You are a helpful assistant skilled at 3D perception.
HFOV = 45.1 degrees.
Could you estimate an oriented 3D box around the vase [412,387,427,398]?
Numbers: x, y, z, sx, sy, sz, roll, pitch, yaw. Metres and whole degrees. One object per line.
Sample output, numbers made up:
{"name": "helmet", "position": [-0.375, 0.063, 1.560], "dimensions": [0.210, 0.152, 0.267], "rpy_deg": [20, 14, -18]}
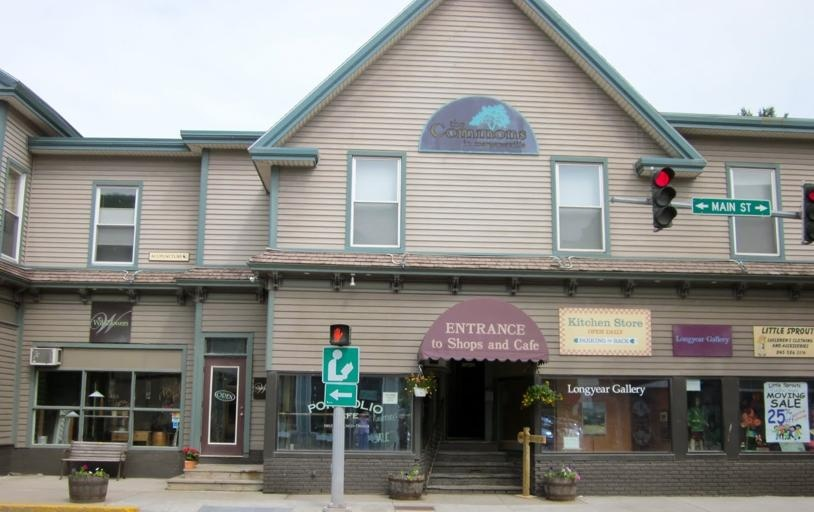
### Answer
{"name": "vase", "position": [0.391, 3.949, 28.286], "dimensions": [0.431, 0.271, 0.384], "rpy_deg": [-6, -15, 22]}

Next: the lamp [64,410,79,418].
{"name": "lamp", "position": [-10.500, 4.981, 30.727], "dimensions": [0.272, 0.128, 0.268], "rpy_deg": [-3, -2, 24]}

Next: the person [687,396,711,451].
{"name": "person", "position": [8.572, 4.948, 28.803], "dimensions": [0.555, 1.554, 0.292], "rpy_deg": [-1, -15, 4]}

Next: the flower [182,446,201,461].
{"name": "flower", "position": [-6.685, 6.082, 29.991], "dimensions": [0.550, 0.390, 0.402], "rpy_deg": [-9, -17, 31]}

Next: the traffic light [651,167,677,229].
{"name": "traffic light", "position": [6.642, -1.525, 25.376], "dimensions": [0.598, 1.637, 1.129], "rpy_deg": [-4, -15, 14]}

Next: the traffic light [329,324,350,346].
{"name": "traffic light", "position": [-1.734, 2.097, 25.795], "dimensions": [0.579, 0.515, 0.525], "rpy_deg": [0, -2, 1]}

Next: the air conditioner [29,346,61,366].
{"name": "air conditioner", "position": [-11.365, 3.184, 30.695], "dimensions": [1.049, 0.549, 0.637], "rpy_deg": [2, -7, -10]}

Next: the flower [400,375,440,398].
{"name": "flower", "position": [0.437, 3.758, 28.520], "dimensions": [0.797, 0.518, 0.709], "rpy_deg": [1, -13, -3]}

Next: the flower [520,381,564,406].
{"name": "flower", "position": [3.977, 4.050, 28.504], "dimensions": [0.864, 0.540, 0.823], "rpy_deg": [0, 3, -22]}

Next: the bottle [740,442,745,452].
{"name": "bottle", "position": [9.943, 5.619, 28.826], "dimensions": [0.176, 0.298, 0.058], "rpy_deg": [5, -16, -19]}

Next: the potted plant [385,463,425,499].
{"name": "potted plant", "position": [-0.001, 6.542, 28.094], "dimensions": [1.046, 0.799, 0.997], "rpy_deg": [6, -7, -13]}

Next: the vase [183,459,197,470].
{"name": "vase", "position": [-6.572, 6.335, 29.671], "dimensions": [0.374, 0.217, 0.356], "rpy_deg": [1, -7, -5]}
